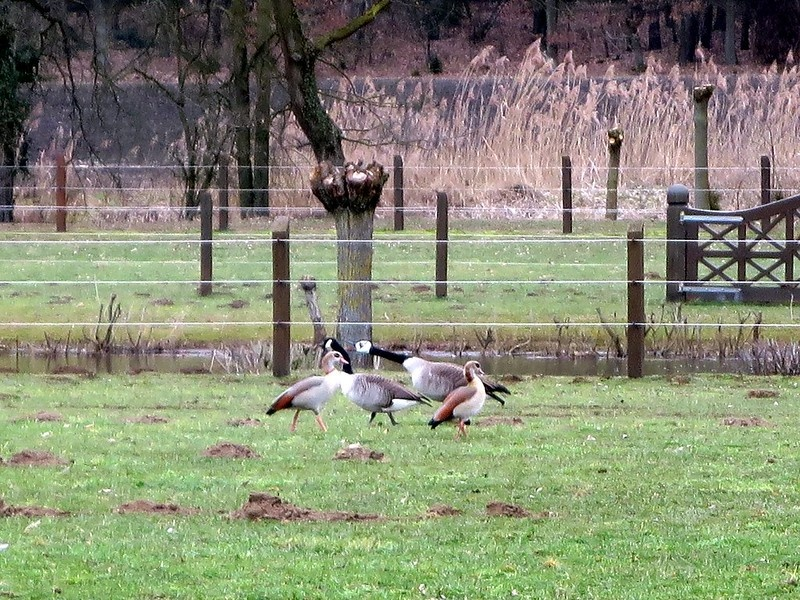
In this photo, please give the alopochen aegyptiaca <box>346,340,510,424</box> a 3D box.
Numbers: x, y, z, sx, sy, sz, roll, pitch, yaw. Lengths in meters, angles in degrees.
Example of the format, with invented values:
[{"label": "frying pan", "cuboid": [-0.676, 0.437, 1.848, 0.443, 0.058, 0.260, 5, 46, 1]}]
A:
[{"label": "alopochen aegyptiaca", "cuboid": [0.467, 1.699, 46.324, 1.690, 1.386, 0.633, -16, -15, 0]}]
